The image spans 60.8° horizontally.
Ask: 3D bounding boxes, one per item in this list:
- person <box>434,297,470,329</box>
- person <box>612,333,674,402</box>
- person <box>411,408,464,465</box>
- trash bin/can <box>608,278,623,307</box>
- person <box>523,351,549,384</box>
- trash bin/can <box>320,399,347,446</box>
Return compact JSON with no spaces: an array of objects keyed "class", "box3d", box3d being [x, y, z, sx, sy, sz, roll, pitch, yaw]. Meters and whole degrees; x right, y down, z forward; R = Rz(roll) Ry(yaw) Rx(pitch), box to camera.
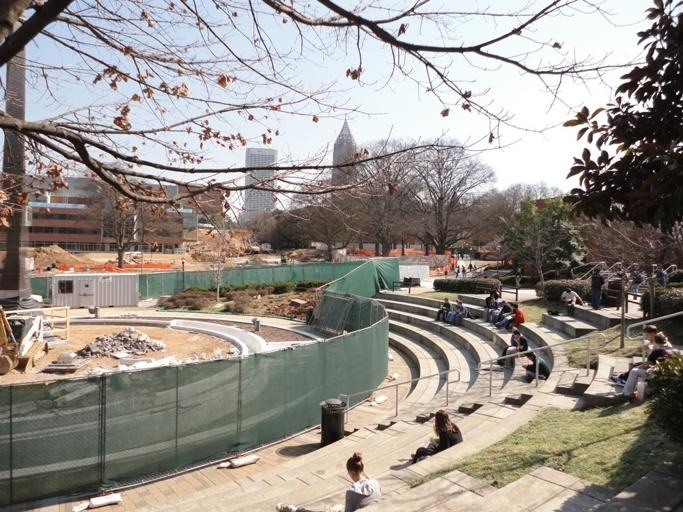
[{"class":"person","box3d":[4.947,2.545,26.132,1.235,1.891,1.089,1,1,1]},{"class":"person","box3d":[6.063,2.217,11.578,0.982,1.300,2.147,3,2,22]},{"class":"person","box3d":[1.977,3.646,11.747,0.865,1.045,0.718,0,13,40]},{"class":"trash bin/can","box3d":[9.965,1.348,21.164,0.463,0.746,1.271,-1,-2,10]},{"class":"person","box3d":[5.170,2.958,15.565,0.799,0.868,0.881,-5,-10,34]},{"class":"trash bin/can","box3d":[-0.237,4.089,14.245,0.691,0.924,0.650,-1,-6,6]}]
